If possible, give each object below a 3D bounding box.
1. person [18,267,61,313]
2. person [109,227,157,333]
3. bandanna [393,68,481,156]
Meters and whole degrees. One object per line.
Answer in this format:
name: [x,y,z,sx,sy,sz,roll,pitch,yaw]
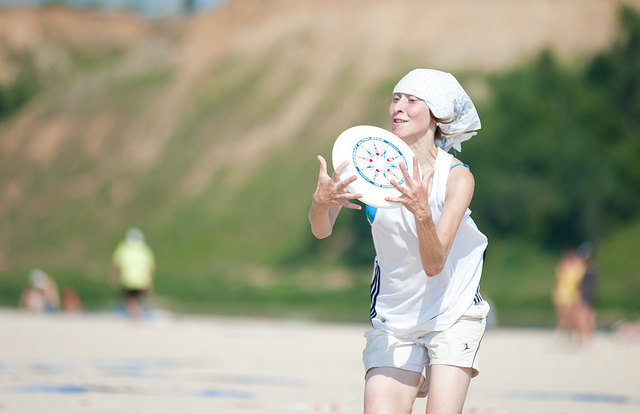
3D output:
person: [-5.234,1.574,27.747,0.775,0.748,0.745,6,-12,-12]
person: [-3.352,1.116,26.330,0.690,2.175,0.921,-4,2,-12]
bandanna: [1.809,-1.410,22.849,1.345,1.170,1.046,16,-9,-7]
